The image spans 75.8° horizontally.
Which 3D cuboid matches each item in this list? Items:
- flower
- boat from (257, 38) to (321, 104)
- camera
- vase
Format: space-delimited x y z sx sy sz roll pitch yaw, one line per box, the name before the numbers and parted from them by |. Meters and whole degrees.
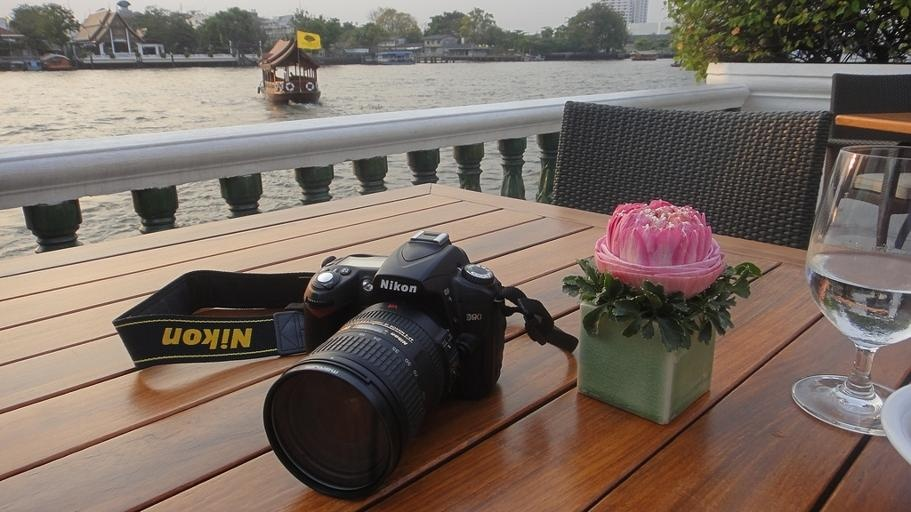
flower | 0.271 0.025 0.793 0.229 0.130 0.225 5 18 32
boat | -5.844 -6.515 20.917 1.761 2.228 2.602 -9 24 -17
camera | -0.115 0.128 0.869 0.348 0.210 0.371 7 26 9
vase | 0.286 0.149 0.877 0.197 0.113 0.194 5 5 31
